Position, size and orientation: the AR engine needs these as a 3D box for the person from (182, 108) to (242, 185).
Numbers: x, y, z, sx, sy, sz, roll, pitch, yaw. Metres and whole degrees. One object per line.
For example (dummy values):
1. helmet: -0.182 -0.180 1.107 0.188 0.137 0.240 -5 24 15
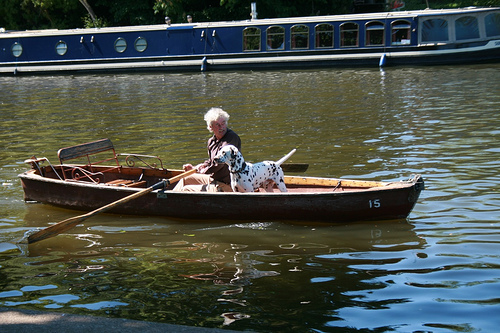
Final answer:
1. person: -0.945 -0.463 18.221 1.423 1.856 0.769 8 21 40
